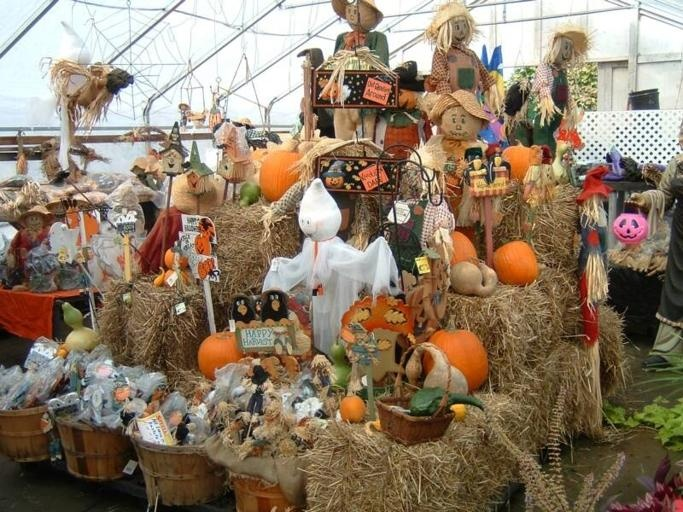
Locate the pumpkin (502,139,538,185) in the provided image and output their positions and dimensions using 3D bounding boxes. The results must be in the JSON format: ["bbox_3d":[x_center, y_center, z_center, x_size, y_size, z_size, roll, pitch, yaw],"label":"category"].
[{"bbox_3d":[1.506,-0.788,4.526,0.367,0.453,0.375,3,11,14],"label":"pumpkin"}]

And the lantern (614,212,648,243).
[{"bbox_3d":[2.959,-0.290,5.560,0.313,0.327,0.313,-4,3,-33],"label":"lantern"}]

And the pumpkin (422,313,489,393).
[{"bbox_3d":[0.748,0.669,3.483,0.377,0.391,0.363,7,-4,-31],"label":"pumpkin"}]

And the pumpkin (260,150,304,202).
[{"bbox_3d":[-0.455,-0.624,4.339,0.263,0.427,0.511,-11,20,-42],"label":"pumpkin"}]

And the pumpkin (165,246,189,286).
[{"bbox_3d":[-1.254,0.082,4.081,0.172,0.239,0.383,-2,16,-16],"label":"pumpkin"}]

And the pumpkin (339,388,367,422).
[{"bbox_3d":[0.068,0.853,3.099,0.133,0.195,0.138,1,5,23],"label":"pumpkin"}]

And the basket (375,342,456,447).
[{"bbox_3d":[0.397,0.705,2.862,0.378,0.498,0.385,5,-1,36],"label":"basket"}]

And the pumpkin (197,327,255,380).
[{"bbox_3d":[-0.825,0.618,3.696,0.327,0.400,0.337,1,2,26],"label":"pumpkin"}]

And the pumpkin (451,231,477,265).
[{"bbox_3d":[0.856,-0.058,3.815,0.210,0.216,0.217,0,-2,4],"label":"pumpkin"}]

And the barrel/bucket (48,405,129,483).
[{"bbox_3d":[-1.618,1.206,3.501,0.422,0.331,0.435,4,-3,0],"label":"barrel/bucket"}]

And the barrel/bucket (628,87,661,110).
[{"bbox_3d":[4.334,-2.187,7.747,0.327,0.312,0.410,-1,1,-14],"label":"barrel/bucket"}]

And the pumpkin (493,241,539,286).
[{"bbox_3d":[1.252,0.064,3.927,0.297,0.374,0.307,-14,-17,8],"label":"pumpkin"}]

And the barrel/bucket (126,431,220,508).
[{"bbox_3d":[-0.972,1.283,3.311,0.411,0.286,0.449,1,-7,0],"label":"barrel/bucket"}]
